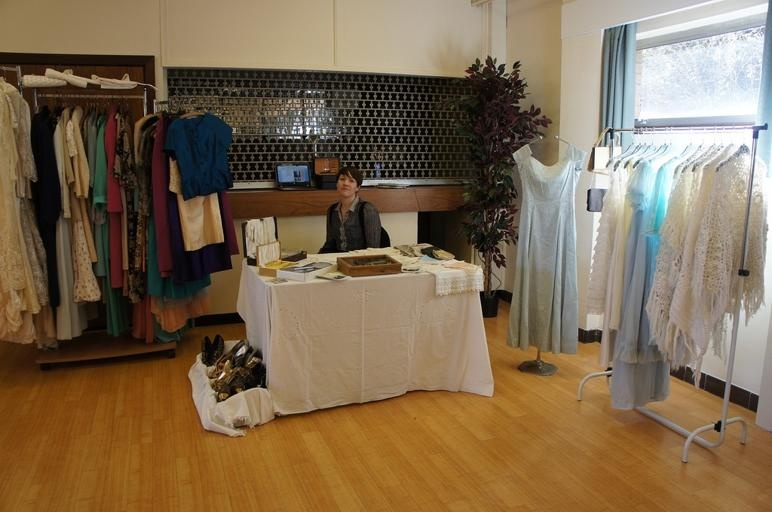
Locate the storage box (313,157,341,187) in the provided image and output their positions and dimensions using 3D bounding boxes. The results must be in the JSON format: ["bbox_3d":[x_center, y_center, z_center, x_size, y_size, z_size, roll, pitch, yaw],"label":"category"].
[{"bbox_3d":[-0.692,-0.967,6.356,0.325,0.373,0.336,-2,8,-19],"label":"storage box"}]

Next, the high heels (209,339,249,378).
[{"bbox_3d":[-1.324,0.972,4.783,0.427,0.154,0.215,-50,27,-11],"label":"high heels"}]

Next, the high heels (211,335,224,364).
[{"bbox_3d":[-1.585,0.872,5.136,0.097,0.309,0.117,1,-27,-18],"label":"high heels"}]

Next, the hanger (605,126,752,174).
[{"bbox_3d":[2.509,-0.951,4.592,1.082,0.334,1.383,7,15,32],"label":"hanger"}]

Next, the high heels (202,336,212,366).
[{"bbox_3d":[-1.675,0.906,5.126,0.096,0.301,0.113,4,-9,-15],"label":"high heels"}]

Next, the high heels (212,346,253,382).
[{"bbox_3d":[-1.292,0.931,4.679,0.233,0.130,0.357,30,61,31],"label":"high heels"}]

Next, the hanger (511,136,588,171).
[{"bbox_3d":[1.675,-1.047,5.551,0.691,0.473,0.058,1,-29,7],"label":"hanger"}]

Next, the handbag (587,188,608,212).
[{"bbox_3d":[1.739,-0.455,4.484,0.187,0.198,0.108,-2,7,-9],"label":"handbag"}]
